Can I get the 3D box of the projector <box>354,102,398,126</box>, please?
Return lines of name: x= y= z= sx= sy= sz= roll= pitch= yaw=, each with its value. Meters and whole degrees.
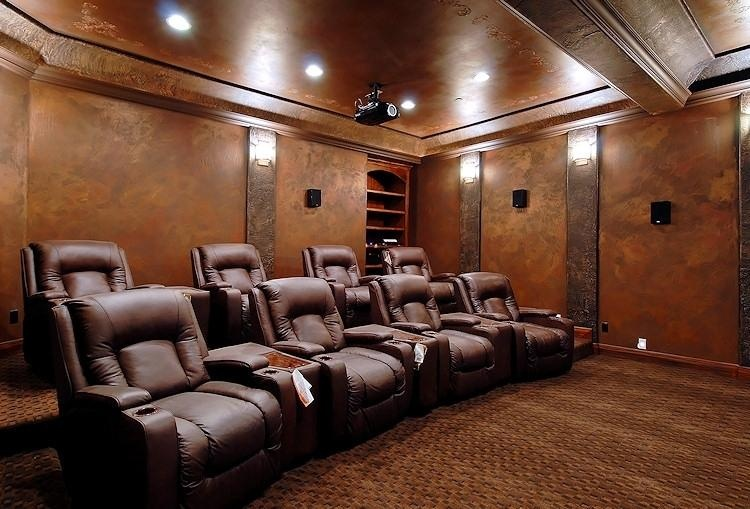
projector: x=0.001 y=-1.839 z=6.336 sx=0.435 sy=0.150 sz=0.351 roll=-4 pitch=-9 yaw=39

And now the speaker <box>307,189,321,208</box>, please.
speaker: x=-0.938 y=-0.912 z=7.787 sx=0.165 sy=0.264 sz=0.289 roll=-7 pitch=-2 yaw=37

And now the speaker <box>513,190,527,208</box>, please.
speaker: x=2.275 y=-0.891 z=7.708 sx=0.239 sy=0.307 sz=0.120 roll=-7 pitch=-2 yaw=40
